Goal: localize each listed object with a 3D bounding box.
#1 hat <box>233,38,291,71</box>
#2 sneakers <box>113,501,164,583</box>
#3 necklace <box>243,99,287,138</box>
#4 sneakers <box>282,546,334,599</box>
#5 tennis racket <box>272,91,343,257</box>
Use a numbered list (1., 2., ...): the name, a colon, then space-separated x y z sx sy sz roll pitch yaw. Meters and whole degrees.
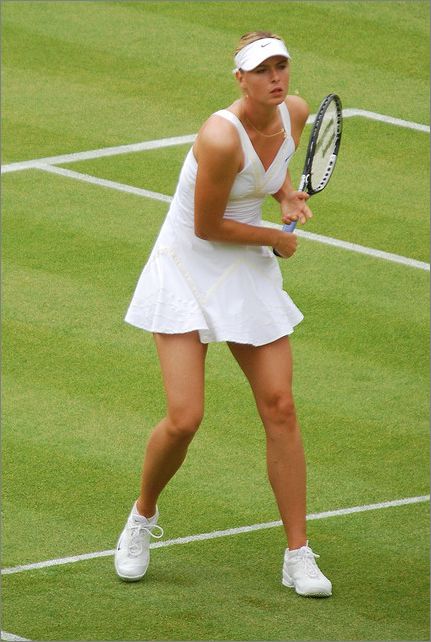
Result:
1. hat: 0.152 -0.868 2.497 0.170 0.125 0.191 9 18 -3
2. sneakers: -0.296 0.841 2.979 0.167 0.130 0.375 14 30 -2
3. necklace: 0.173 -0.674 2.614 0.061 0.086 0.213 25 23 35
4. sneakers: 0.333 0.921 2.823 0.123 0.151 0.282 1 -3 -17
5. tennis racket: 0.453 -0.701 3.283 0.083 0.270 0.878 10 56 33
